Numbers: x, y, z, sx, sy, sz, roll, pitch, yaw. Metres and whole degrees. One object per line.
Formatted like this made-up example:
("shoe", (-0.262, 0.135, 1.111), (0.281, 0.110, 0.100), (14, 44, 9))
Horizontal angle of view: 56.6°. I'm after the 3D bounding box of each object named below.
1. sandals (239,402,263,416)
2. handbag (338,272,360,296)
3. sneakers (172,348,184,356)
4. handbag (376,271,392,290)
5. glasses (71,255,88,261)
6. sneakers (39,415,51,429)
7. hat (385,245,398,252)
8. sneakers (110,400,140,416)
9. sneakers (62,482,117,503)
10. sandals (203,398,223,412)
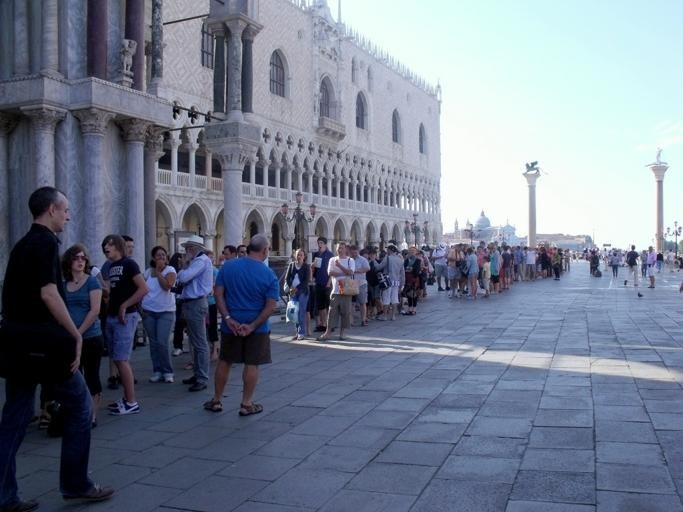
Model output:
("sandals", (-1.061, 1.801, 7.506), (0.123, 0.107, 0.244), (4, 8, 39))
("handbag", (0.133, 0.559, 12.879), (0.465, 0.639, 0.221), (0, -16, -6))
("sneakers", (-2.947, 1.724, 11.418), (0.077, 0.086, 0.209), (-1, -6, 7))
("handbag", (1.055, 0.608, 15.827), (0.299, 0.407, 0.142), (-19, -4, -9))
("glasses", (-2.747, 0.010, 6.699), (0.057, 0.066, 0.145), (-1, 1, 42))
("sneakers", (-3.323, 1.854, 7.103), (0.092, 0.114, 0.259), (1, -8, -5))
("hat", (1.274, -0.195, 16.203), (0.156, 0.189, 0.147), (1, 2, -3))
("sneakers", (-2.588, 1.810, 7.561), (0.225, 0.086, 0.175), (7, -6, -13))
("sneakers", (-2.088, 1.990, 5.303), (0.421, 0.211, 0.158), (0, 0, -17))
("sandals", (-1.569, 1.793, 7.688), (0.113, 0.101, 0.224), (0, 4, -38))
